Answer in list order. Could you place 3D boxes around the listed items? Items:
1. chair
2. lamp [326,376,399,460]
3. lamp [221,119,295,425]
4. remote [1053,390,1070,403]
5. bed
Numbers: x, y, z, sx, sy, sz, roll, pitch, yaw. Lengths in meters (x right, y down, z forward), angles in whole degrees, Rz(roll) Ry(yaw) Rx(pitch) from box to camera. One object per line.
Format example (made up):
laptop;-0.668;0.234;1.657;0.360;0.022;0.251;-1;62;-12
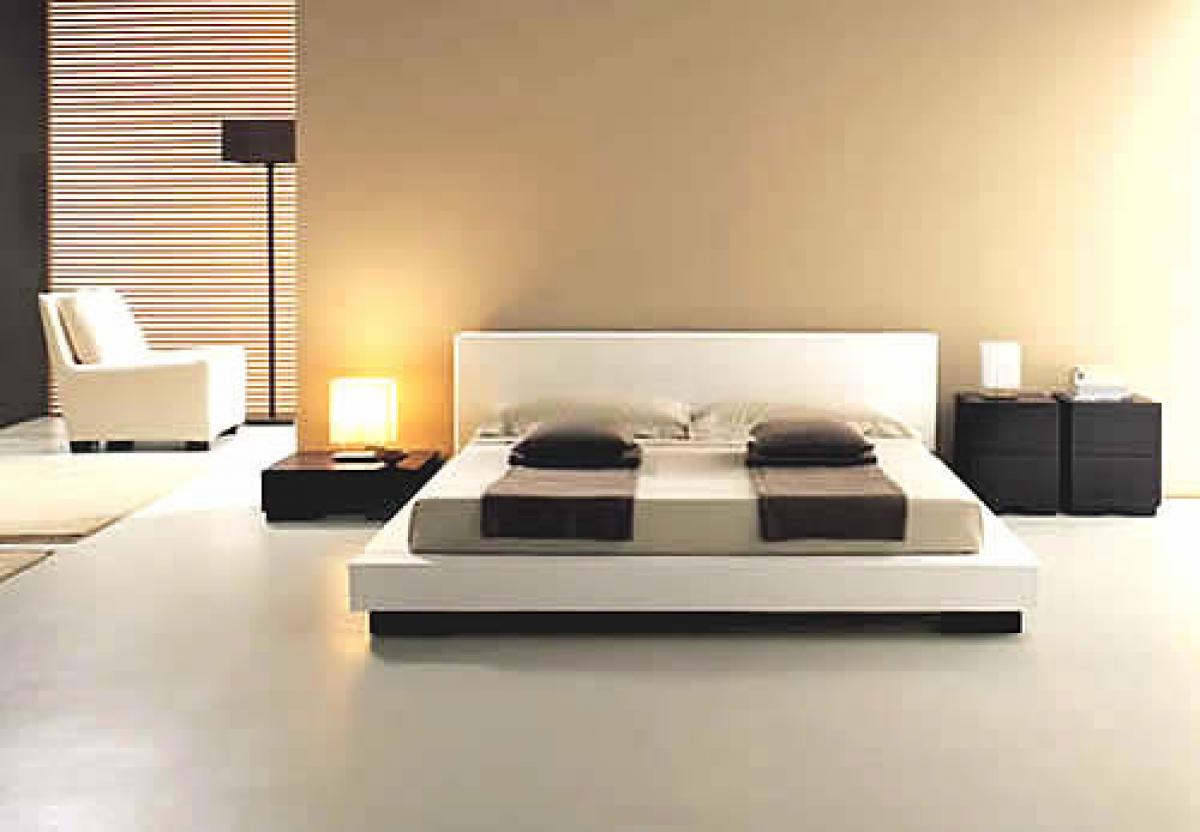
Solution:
chair;-3.356;-0.341;7.031;1.459;0.998;1.383;-1;9;-35
lamp;-1.243;-0.005;5.139;0.409;0.373;0.385;0;-1;-5
lamp;-2.509;-1.026;7.248;0.570;2.347;0.675;1;16;-4
remote;2.497;-0.099;5.139;0.037;0.016;0.131;-13;12;24
bed;0.395;0.197;4.489;2.702;1.134;1.791;0;7;1
